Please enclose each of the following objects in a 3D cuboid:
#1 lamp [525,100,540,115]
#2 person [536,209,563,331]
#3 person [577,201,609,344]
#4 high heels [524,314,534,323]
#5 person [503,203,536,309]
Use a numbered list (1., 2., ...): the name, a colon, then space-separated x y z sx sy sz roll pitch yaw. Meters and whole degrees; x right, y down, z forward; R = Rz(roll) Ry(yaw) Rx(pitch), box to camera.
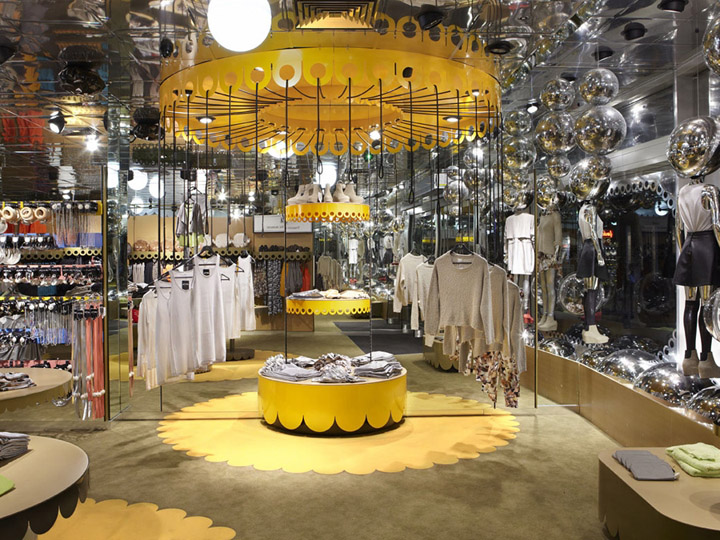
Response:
1. lamp: 2.351 -2.228 7.650 0.147 0.187 0.387 2 5 17
2. person: 2.522 0.025 7.511 0.412 1.609 0.297 -1 5 -10
3. person: 2.919 0.060 7.021 0.372 1.818 1.048 2 5 22
4. high heels: 2.228 0.645 7.401 0.108 0.153 0.127 5 7 27
5. person: 2.292 -0.303 7.998 0.339 1.665 0.348 0 36 20
